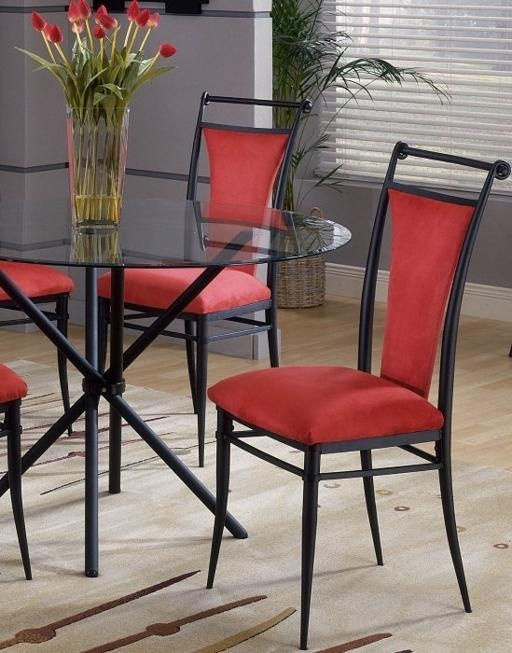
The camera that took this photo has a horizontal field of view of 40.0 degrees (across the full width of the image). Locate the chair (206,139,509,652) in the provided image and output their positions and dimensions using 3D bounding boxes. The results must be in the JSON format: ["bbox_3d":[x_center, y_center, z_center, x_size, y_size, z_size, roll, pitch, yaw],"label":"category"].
[{"bbox_3d":[0.166,0.086,1.361,0.468,0.937,0.400,-2,6,-14],"label":"chair"}]

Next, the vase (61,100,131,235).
[{"bbox_3d":[-0.354,-0.355,1.591,0.129,0.259,0.108,-2,6,-15],"label":"vase"}]
